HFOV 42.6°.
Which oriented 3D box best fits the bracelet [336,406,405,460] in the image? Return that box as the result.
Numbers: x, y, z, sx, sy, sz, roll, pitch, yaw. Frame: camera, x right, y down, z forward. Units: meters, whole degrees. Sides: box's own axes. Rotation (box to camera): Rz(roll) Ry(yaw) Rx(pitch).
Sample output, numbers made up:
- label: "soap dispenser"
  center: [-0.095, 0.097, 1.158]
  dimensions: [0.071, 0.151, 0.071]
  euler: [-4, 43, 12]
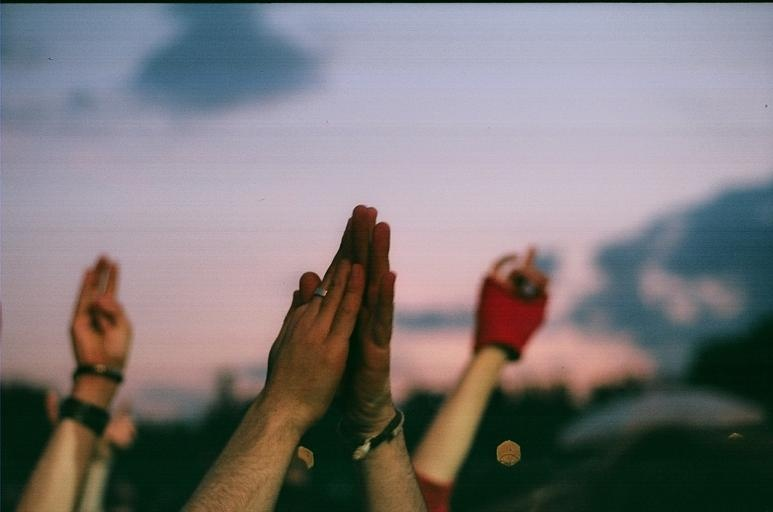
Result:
- label: "bracelet"
  center: [-0.062, 0.833, 4.735]
  dimensions: [0.295, 0.121, 0.220]
  euler: [-32, 23, -6]

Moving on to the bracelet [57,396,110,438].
- label: "bracelet"
  center: [-1.428, 0.745, 4.785]
  dimensions: [0.213, 0.145, 0.210]
  euler: [19, -6, -1]

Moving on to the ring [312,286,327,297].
- label: "ring"
  center: [-0.317, 0.172, 4.695]
  dimensions: [0.054, 0.035, 0.056]
  euler: [23, 2, -1]
